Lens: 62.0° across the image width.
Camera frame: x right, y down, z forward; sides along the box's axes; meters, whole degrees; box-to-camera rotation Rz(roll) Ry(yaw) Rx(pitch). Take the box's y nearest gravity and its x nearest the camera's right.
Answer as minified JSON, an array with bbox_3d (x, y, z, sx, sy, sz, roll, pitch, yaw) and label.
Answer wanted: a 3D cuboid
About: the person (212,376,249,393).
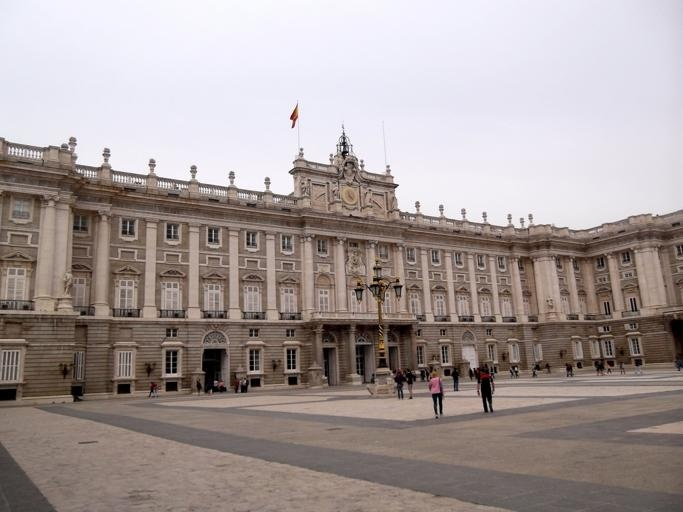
[{"bbox_3d":[-8.618,10.148,44.348,1.805,0.376,1.651,-1,0,-42],"label":"person"}]

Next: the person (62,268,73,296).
[{"bbox_3d":[-18.535,1.852,38.485,0.561,1.760,1.217,4,-12,-30],"label":"person"}]

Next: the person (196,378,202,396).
[{"bbox_3d":[-10.772,9.743,42.812,0.371,1.065,0.724,-1,-10,-10],"label":"person"}]
